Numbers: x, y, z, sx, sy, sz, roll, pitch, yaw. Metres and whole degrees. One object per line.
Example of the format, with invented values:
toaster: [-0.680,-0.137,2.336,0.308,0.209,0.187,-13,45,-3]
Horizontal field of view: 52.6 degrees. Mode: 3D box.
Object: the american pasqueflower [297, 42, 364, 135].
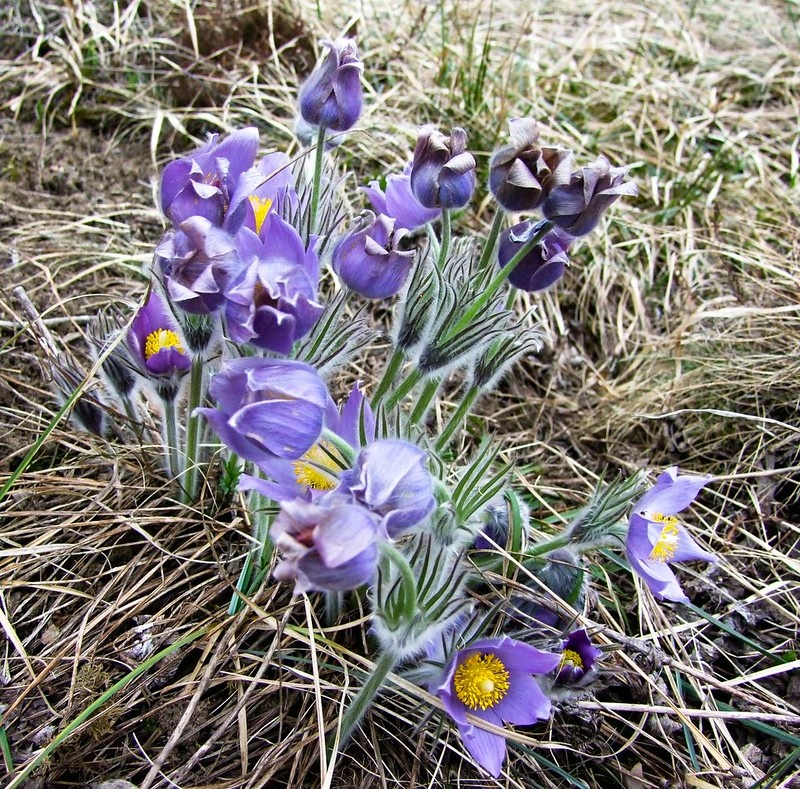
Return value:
american pasqueflower: [-0.201,-0.881,2.363,0.182,0.314,0.162,-11,54,-19]
